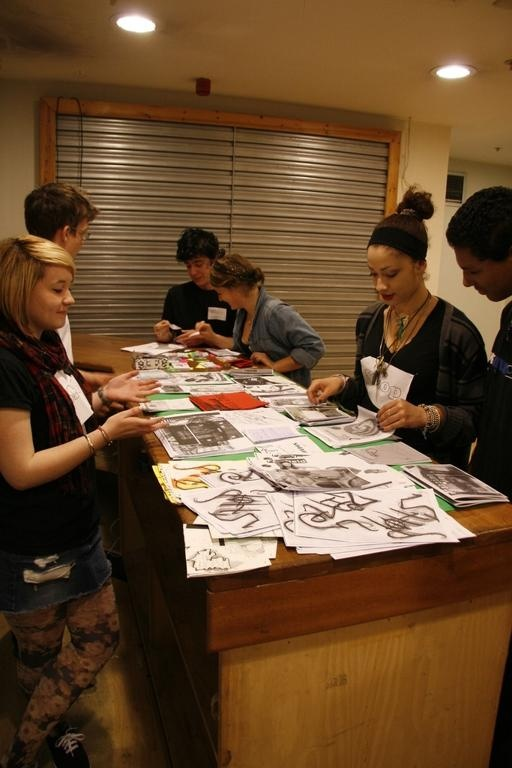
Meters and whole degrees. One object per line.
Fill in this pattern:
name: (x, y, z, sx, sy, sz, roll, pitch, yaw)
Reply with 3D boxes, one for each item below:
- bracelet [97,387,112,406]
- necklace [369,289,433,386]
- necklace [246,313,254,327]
bracelet: (-0.456, 0.039, 1.703, 0.056, 0.042, 0.057, 3, 0, -8)
necklace: (0.493, -0.169, 1.882, 0.067, 0.384, 0.116, 28, -2, -38)
necklace: (-0.027, -0.354, 3.092, 0.054, 0.069, 0.060, 0, -8, -3)
